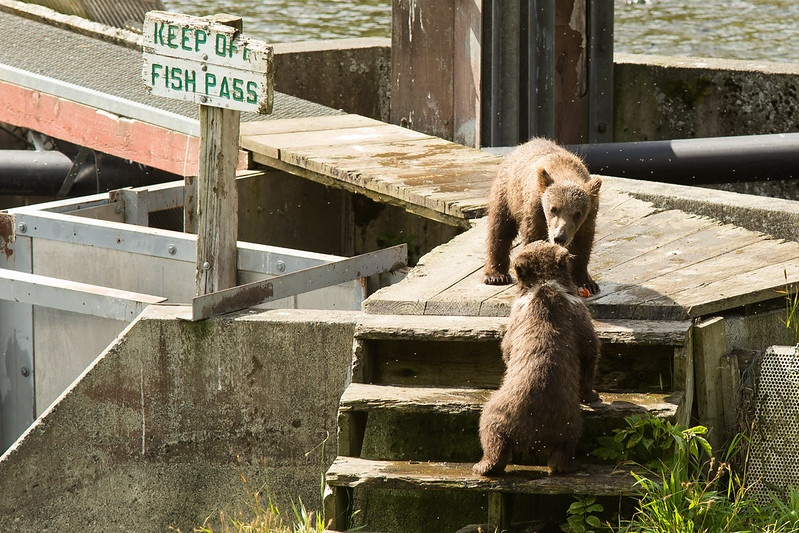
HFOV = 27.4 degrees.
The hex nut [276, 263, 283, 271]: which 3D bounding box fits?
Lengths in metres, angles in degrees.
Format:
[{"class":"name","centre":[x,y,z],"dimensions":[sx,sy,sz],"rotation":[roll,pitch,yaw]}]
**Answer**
[{"class":"hex nut","centre":[-1.167,-0.014,16.023],"dimensions":[0.089,0.085,0.032],"rotation":[0,2,3]}]

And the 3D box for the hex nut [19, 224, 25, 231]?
[{"class":"hex nut","centre":[-3.721,-0.395,16.165],"dimensions":[0.072,0.093,0.054],"rotation":[0,2,-2]}]

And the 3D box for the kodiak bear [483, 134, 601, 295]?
[{"class":"kodiak bear","centre":[1.377,-0.441,14.687],"dimensions":[0.788,1.421,1.816],"rotation":[-2,11,-13]}]

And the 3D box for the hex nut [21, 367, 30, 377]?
[{"class":"hex nut","centre":[-3.610,1.004,15.817],"dimensions":[0.077,0.087,0.019],"rotation":[0,10,21]}]

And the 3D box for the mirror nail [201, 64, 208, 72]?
[{"class":"mirror nail","centre":[-1.836,-1.879,15.395],"dimensions":[0.056,0.062,0.020],"rotation":[13,2,8]}]

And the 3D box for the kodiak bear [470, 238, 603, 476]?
[{"class":"kodiak bear","centre":[1.171,0.841,13.514],"dimensions":[0.871,1.972,1.189],"rotation":[2,-37,16]}]

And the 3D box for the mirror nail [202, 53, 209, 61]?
[{"class":"mirror nail","centre":[-1.827,-1.978,15.358],"dimensions":[0.055,0.059,0.015],"rotation":[-15,3,18]}]
